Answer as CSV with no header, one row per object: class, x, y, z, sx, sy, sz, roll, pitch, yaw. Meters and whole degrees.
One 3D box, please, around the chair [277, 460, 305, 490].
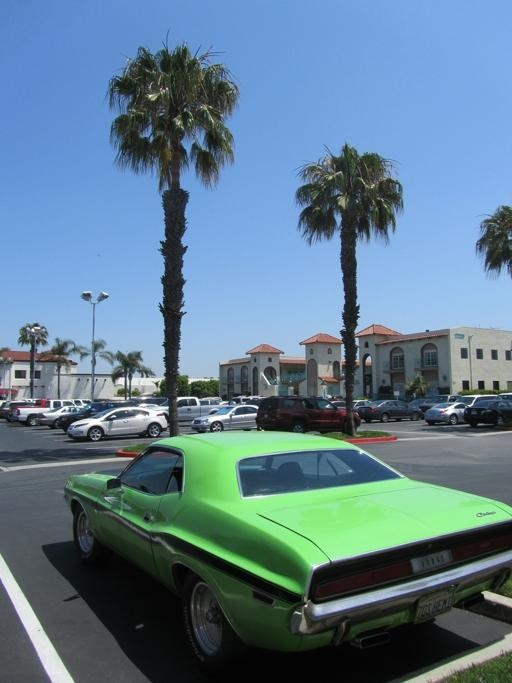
chair,0.240,0.902,3.380,0.110,0.154,0.151,3,-4,-7
